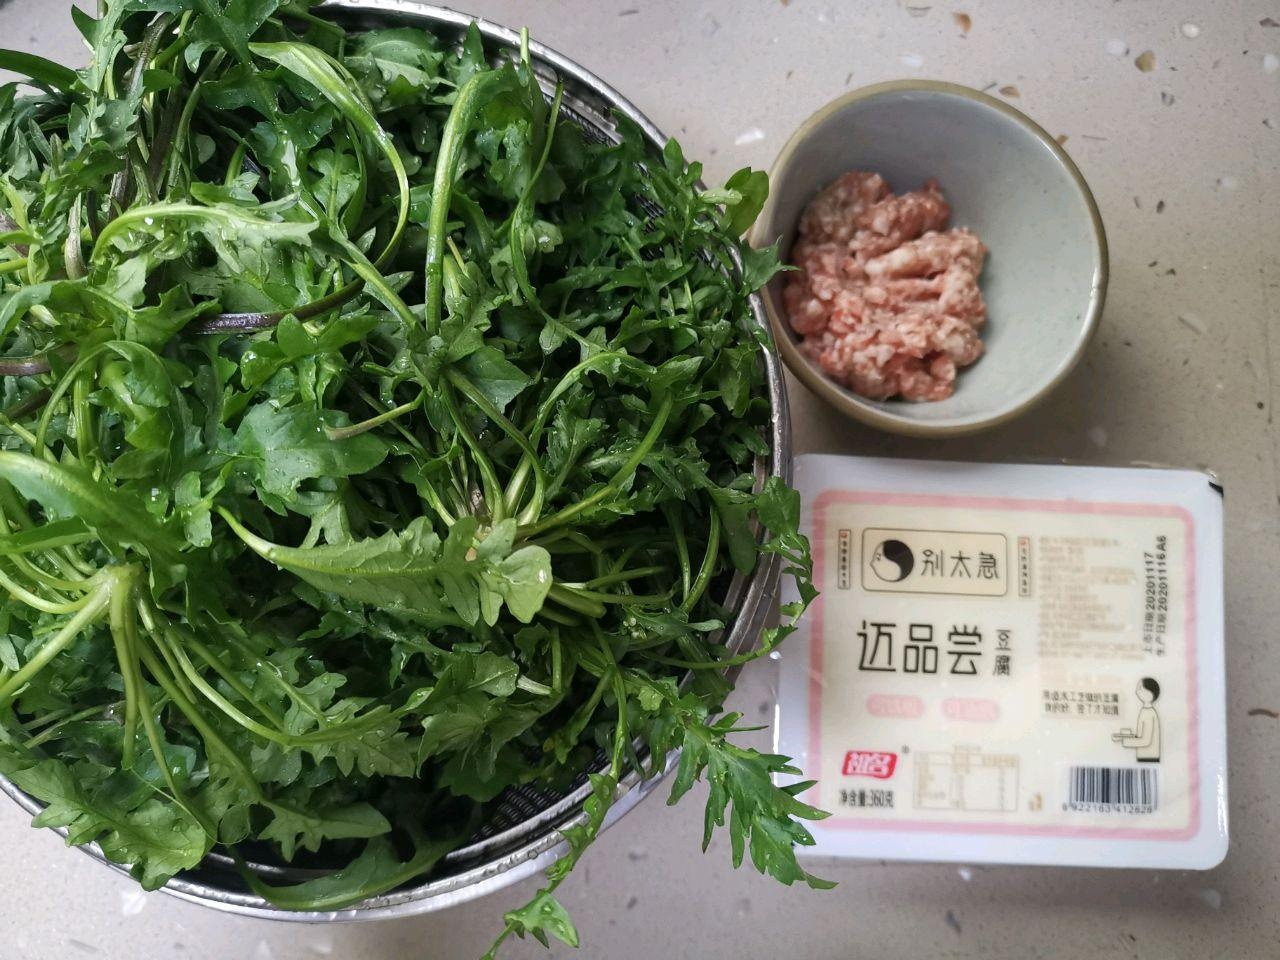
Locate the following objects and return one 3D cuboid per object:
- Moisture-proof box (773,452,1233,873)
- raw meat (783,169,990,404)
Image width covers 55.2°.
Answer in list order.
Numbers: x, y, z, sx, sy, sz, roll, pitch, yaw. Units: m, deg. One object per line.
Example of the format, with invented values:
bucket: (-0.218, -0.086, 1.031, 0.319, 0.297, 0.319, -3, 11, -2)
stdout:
Moisture-proof box: (0.326, 0.162, 1.103, 0.401, 0.187, 0.339, -1, 70, 10)
raw meat: (0.213, -0.143, 1.001, 0.183, 0.059, 0.198, -9, 90, 1)
